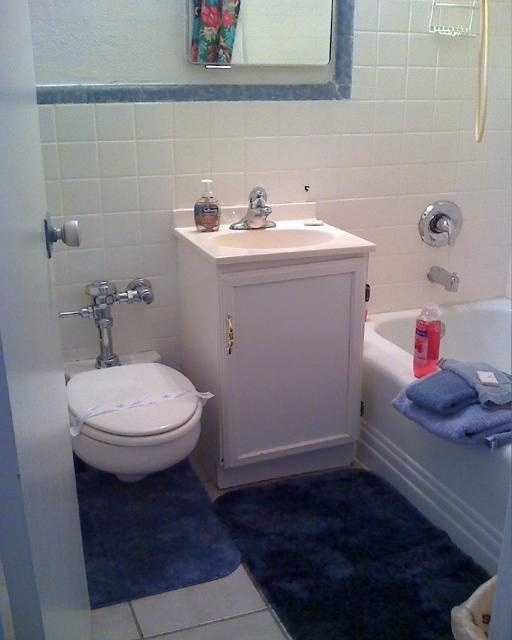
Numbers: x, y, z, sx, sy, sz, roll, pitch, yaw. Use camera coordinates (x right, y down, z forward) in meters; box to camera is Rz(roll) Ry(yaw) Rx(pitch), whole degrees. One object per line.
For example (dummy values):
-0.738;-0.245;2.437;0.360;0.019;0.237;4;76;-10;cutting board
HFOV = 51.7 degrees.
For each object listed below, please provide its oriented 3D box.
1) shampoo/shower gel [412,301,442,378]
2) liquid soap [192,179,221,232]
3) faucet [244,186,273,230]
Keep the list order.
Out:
0.545;0.072;1.679;0.069;0.253;0.073;2;24;12;shampoo/shower gel
-0.169;-0.391;1.834;0.083;0.172;0.074;-13;22;-30;liquid soap
0.009;-0.397;1.896;0.125;0.148;0.094;-19;27;-33;faucet
